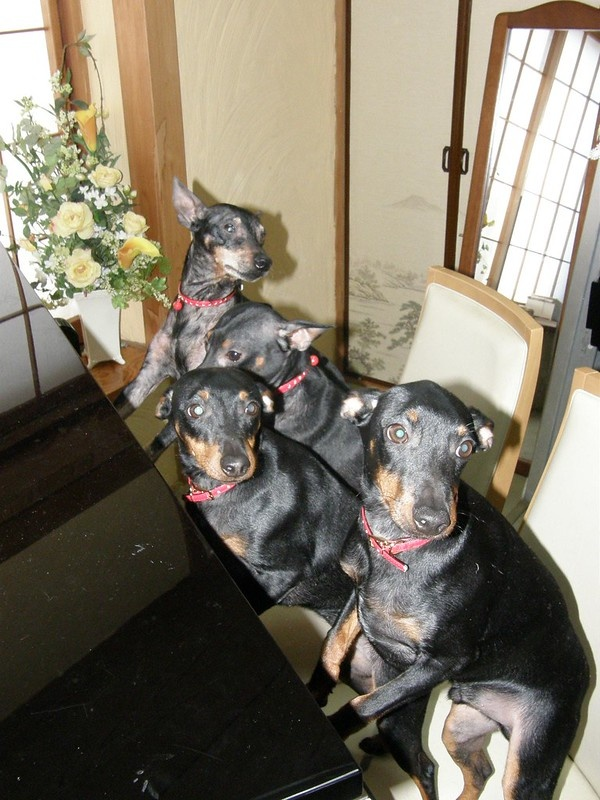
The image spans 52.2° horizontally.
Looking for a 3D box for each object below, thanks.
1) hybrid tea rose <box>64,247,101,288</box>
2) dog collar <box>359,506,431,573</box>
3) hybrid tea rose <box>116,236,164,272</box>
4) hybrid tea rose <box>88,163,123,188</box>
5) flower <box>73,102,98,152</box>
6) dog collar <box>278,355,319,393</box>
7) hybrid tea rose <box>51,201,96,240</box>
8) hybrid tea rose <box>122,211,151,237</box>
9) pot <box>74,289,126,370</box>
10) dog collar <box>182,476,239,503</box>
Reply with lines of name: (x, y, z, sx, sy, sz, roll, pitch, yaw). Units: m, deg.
hybrid tea rose: (-0.637, -0.403, 1.846, 0.110, 0.108, 0.050, -30, 12, 12)
dog collar: (0.143, 0.211, 0.958, 0.025, 0.081, 0.082, -43, -11, -2)
hybrid tea rose: (-0.500, -0.452, 1.895, 0.123, 0.072, 0.081, 0, 58, 34)
hybrid tea rose: (-0.589, -0.674, 1.854, 0.087, 0.083, 0.117, -13, 40, -17)
flower: (-0.652, -0.848, 1.896, 0.062, 0.128, 0.074, -16, 42, -20)
dog collar: (0.008, -0.051, 1.492, 0.112, 0.020, 0.065, -42, 28, 3)
hybrid tea rose: (-0.651, -0.511, 1.775, 0.106, 0.107, 0.050, -22, 6, 2)
hybrid tea rose: (-0.491, -0.524, 1.865, 0.080, 0.080, 0.038, -18, 1, -24)
pot: (-0.707, -0.240, 2.068, 0.155, 0.245, 0.172, 5, 8, 26)
dog collar: (-0.174, 0.170, 1.132, 0.077, 0.022, 0.057, -7, 10, -27)
